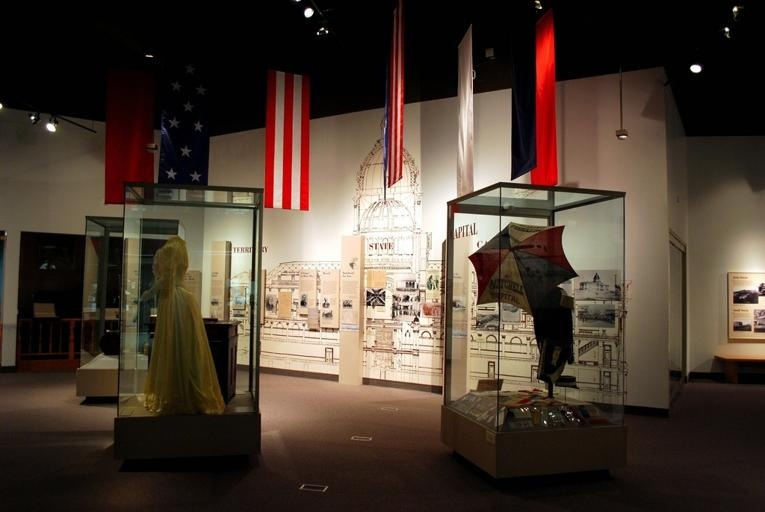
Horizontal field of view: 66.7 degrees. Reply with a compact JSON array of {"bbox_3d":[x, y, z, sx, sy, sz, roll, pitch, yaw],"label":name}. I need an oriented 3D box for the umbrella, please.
[{"bbox_3d":[1.900,0.172,7.997,1.166,1.171,0.783,-42,-6,3],"label":"umbrella"}]

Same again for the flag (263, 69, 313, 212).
[{"bbox_3d":[-1.862,-2.235,11.363,0.914,2.645,0.485,-1,9,-12],"label":"flag"}]

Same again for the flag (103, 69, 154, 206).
[{"bbox_3d":[-4.804,-2.261,11.020,0.933,2.458,0.277,-4,10,-25],"label":"flag"}]

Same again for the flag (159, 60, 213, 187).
[{"bbox_3d":[-4.039,-2.700,11.919,1.058,2.284,4.143,-3,10,-20],"label":"flag"}]

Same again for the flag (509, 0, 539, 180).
[{"bbox_3d":[2.246,-2.472,9.255,0.423,2.460,0.713,2,9,11],"label":"flag"}]
